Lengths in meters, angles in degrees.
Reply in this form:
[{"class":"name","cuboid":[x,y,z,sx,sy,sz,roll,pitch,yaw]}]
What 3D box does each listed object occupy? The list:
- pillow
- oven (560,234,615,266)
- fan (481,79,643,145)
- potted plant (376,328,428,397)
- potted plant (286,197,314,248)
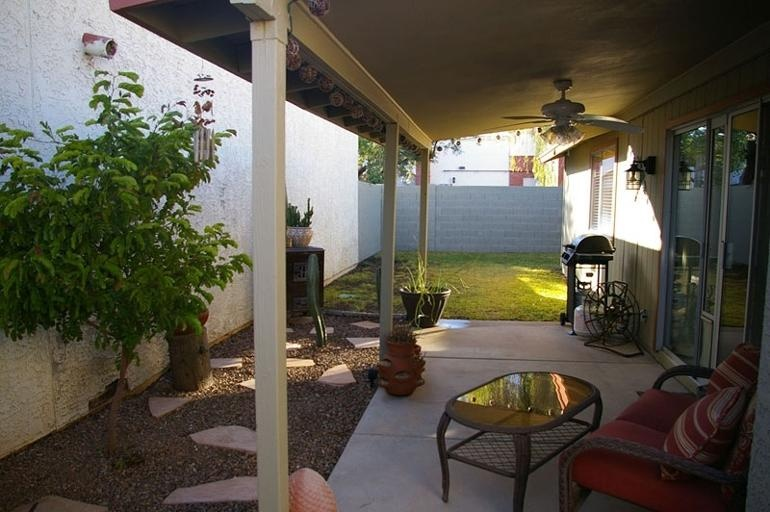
[{"class":"pillow","cuboid":[2.049,1.068,3.272,0.376,0.859,0.365,28,-24,15]},{"class":"oven","cuboid":[2.673,-0.083,6.796,0.471,0.277,0.533,0,5,9]},{"class":"fan","cuboid":[1.792,-1.436,5.109,1.403,0.503,1.287,-2,19,1]},{"class":"potted plant","cuboid":[0.158,1.024,4.969,0.438,0.658,0.248,0,13,-1]},{"class":"potted plant","cuboid":[-1.259,-0.480,7.678,0.378,0.646,0.563,-3,14,-12]}]
